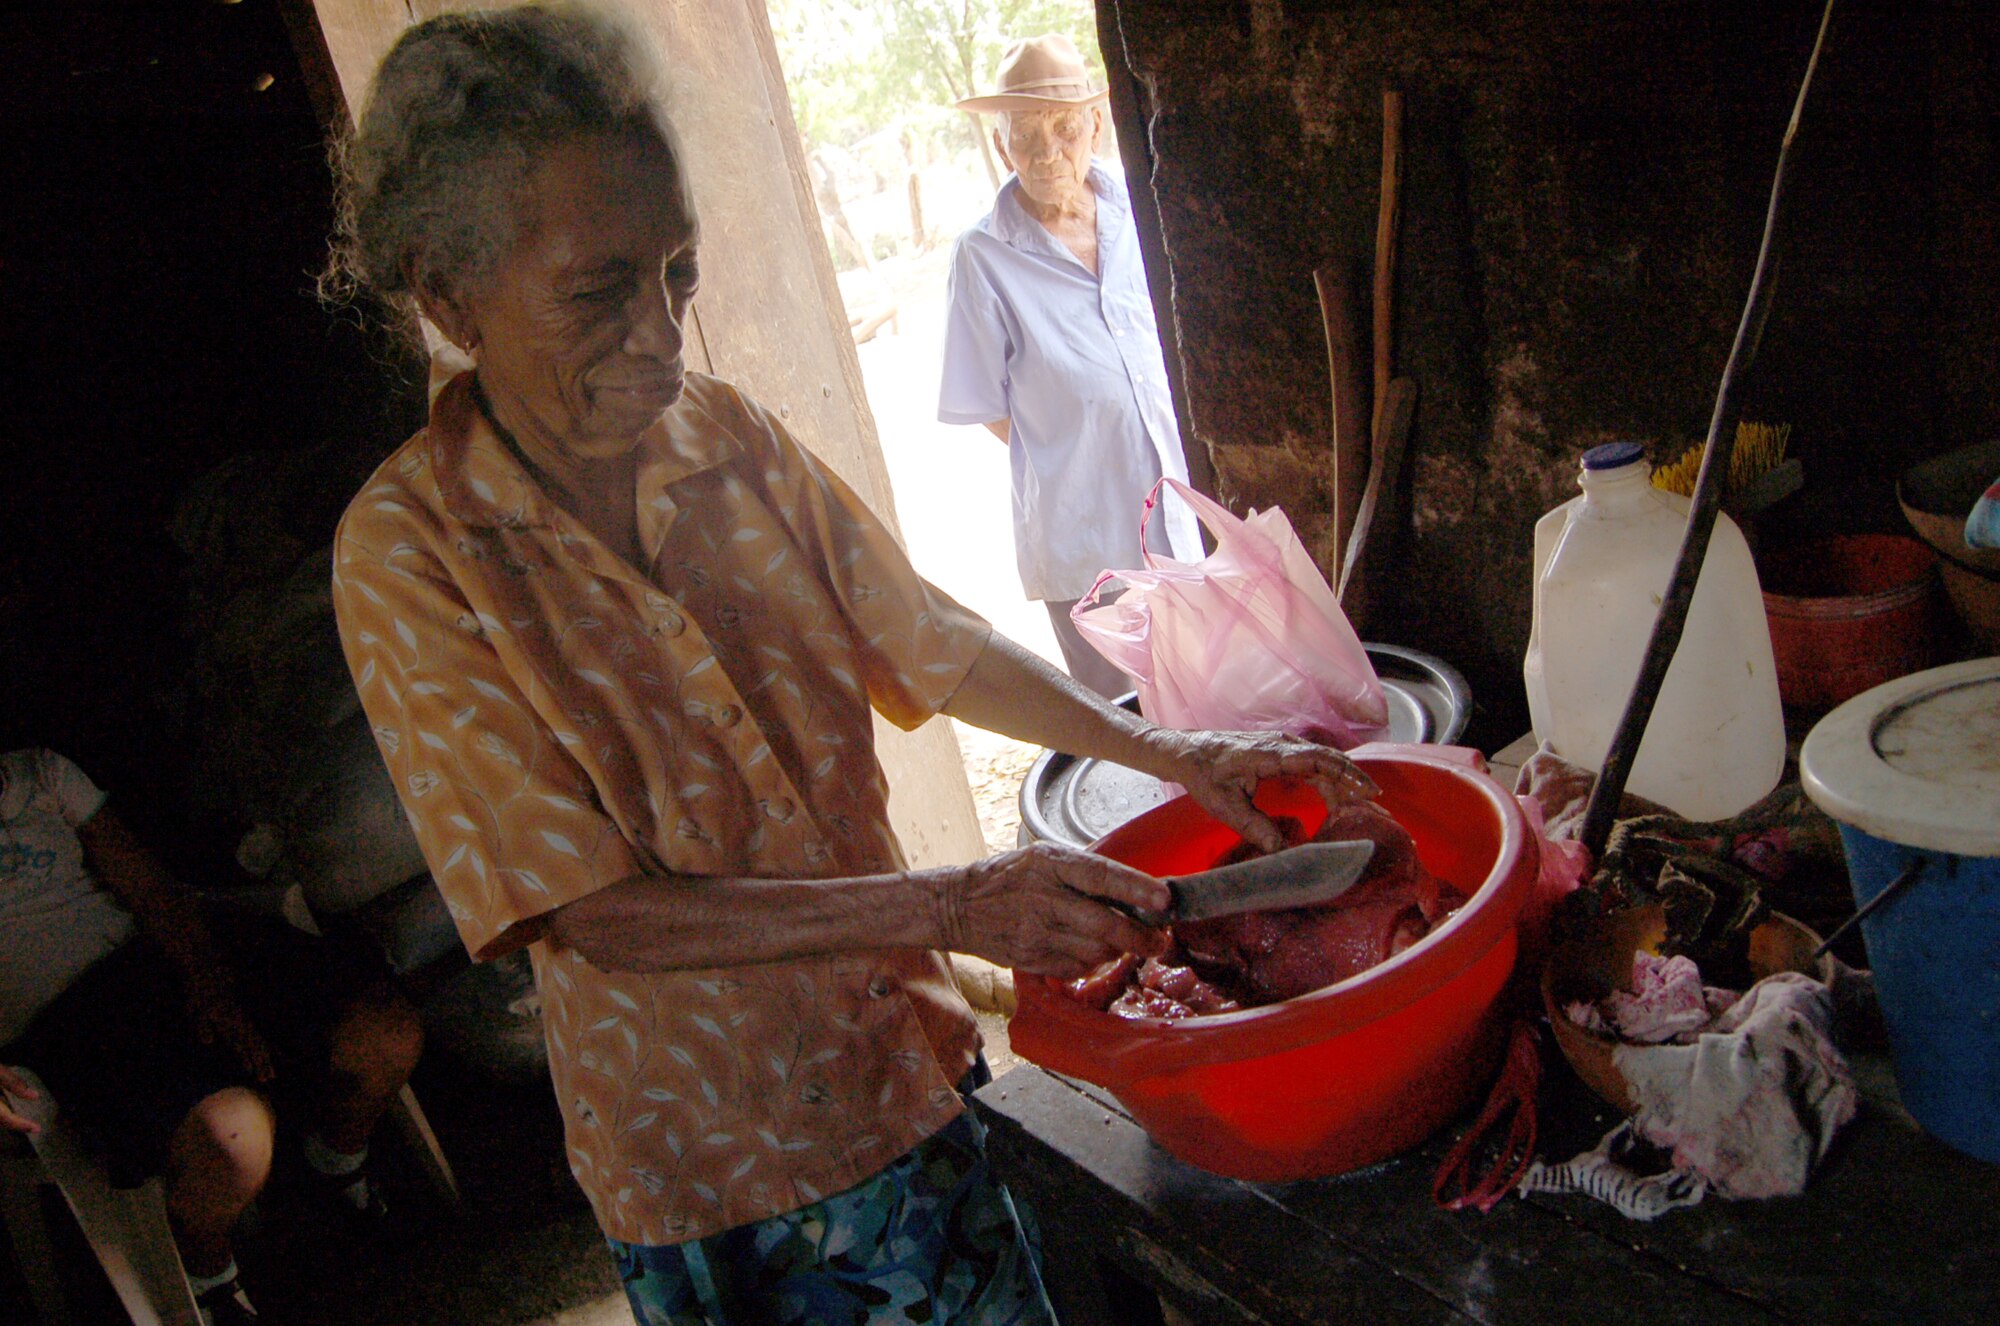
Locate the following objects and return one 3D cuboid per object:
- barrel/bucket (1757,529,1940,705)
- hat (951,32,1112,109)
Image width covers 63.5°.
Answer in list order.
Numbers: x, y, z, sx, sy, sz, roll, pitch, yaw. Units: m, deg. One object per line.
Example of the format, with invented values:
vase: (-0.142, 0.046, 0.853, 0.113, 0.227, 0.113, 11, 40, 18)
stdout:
barrel/bucket: (1.600, -0.077, 3.128, 0.322, 0.234, 0.313, -18, 14, 5)
hat: (0.155, -2.213, 6.059, 0.367, 0.141, 0.407, -4, 8, 9)
